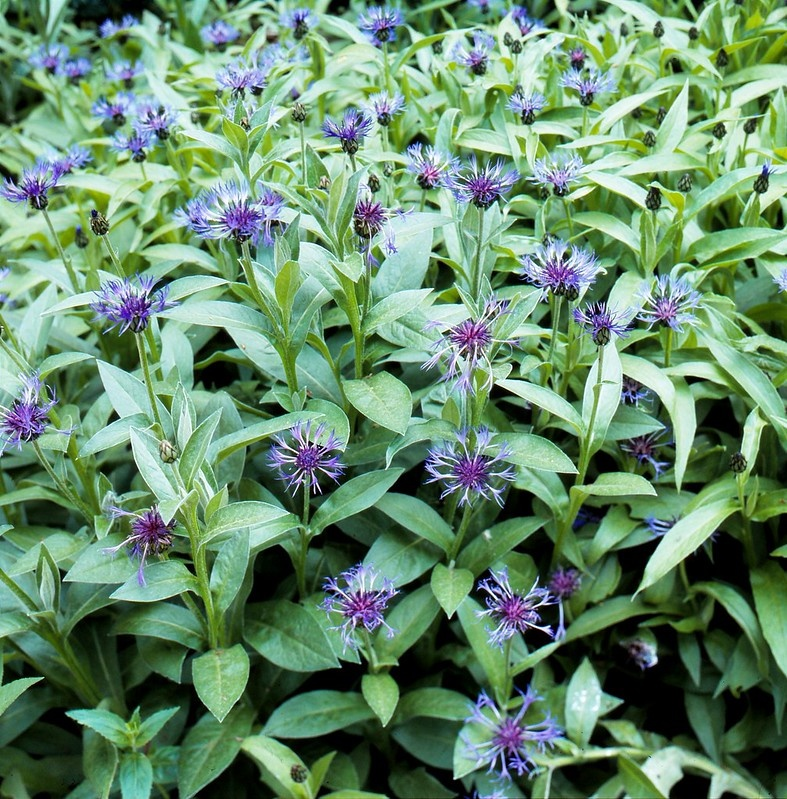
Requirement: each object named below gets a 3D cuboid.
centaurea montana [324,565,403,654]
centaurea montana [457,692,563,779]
[{"bbox_3d":[-0.070,0.493,1.950,0.133,0.182,0.149,22,69,12],"label":"centaurea montana"},{"bbox_3d":[0.260,0.762,1.956,0.218,0.095,0.263,7,77,1],"label":"centaurea montana"}]
